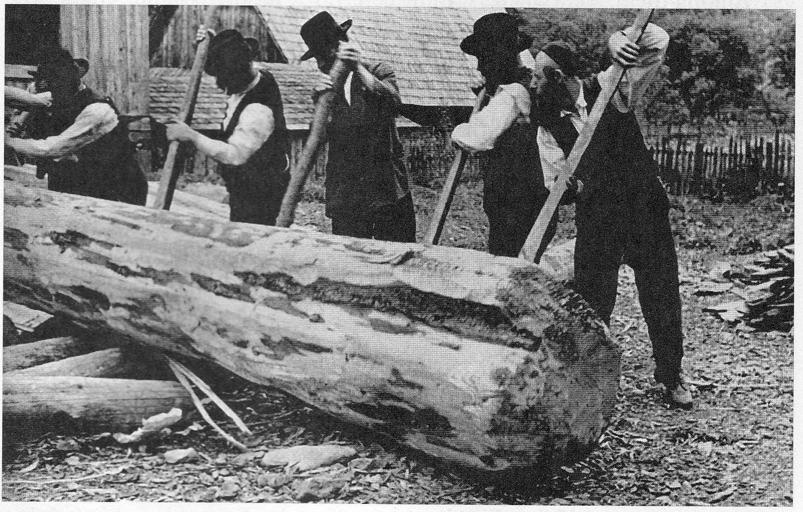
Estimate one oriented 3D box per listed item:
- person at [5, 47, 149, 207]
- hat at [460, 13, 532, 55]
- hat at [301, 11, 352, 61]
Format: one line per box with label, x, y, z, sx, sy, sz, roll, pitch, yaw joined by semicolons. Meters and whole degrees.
person;-2.825;-1.135;8.936;1.168;1.340;0.295;1;10;12
hat;0.806;-1.908;8.789;0.450;0.111;0.424;9;41;42
hat;-0.694;-1.940;8.869;0.492;0.176;0.396;-30;22;15
